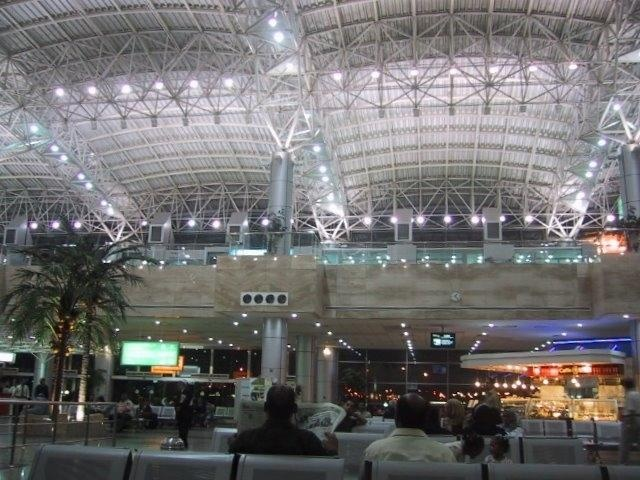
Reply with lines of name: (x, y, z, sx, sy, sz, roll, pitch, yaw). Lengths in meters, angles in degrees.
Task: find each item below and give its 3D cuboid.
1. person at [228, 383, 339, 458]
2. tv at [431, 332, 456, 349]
person: (-0.417, 1.979, 6.097, 1.257, 0.644, 0.689, 0, -19, 3)
tv: (5.140, 4.198, 23.823, 0.960, 0.585, 0.782, -1, -14, 3)
